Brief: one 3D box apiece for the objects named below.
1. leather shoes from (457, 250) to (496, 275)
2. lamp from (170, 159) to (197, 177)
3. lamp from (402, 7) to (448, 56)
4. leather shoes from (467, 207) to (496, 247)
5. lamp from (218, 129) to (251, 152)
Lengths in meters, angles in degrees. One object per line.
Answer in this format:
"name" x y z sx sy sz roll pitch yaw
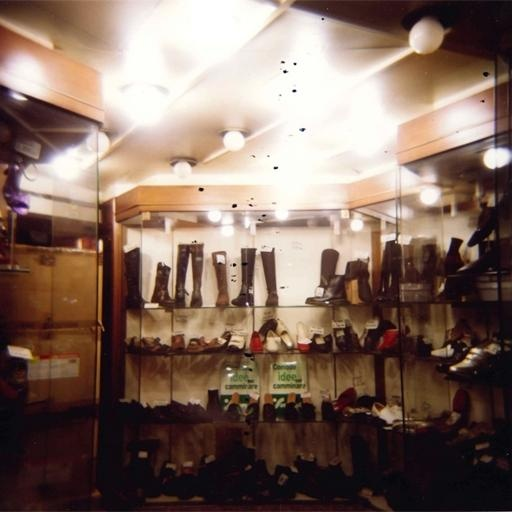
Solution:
"leather shoes" 0.999 0.028 2.151 0.138 0.065 0.048 -17 5 28
"lamp" -0.498 -0.576 3.190 0.114 0.090 0.123 -1 0 -4
"lamp" 0.732 -0.970 2.078 0.154 0.210 0.169 3 28 13
"leather shoes" 1.017 -0.131 2.169 0.060 0.159 0.048 23 33 0
"lamp" -0.138 -0.711 2.962 0.157 0.073 0.202 1 -8 -4
